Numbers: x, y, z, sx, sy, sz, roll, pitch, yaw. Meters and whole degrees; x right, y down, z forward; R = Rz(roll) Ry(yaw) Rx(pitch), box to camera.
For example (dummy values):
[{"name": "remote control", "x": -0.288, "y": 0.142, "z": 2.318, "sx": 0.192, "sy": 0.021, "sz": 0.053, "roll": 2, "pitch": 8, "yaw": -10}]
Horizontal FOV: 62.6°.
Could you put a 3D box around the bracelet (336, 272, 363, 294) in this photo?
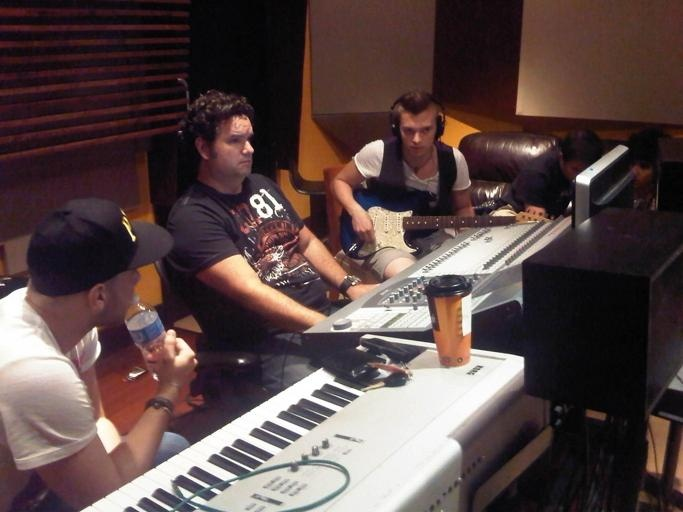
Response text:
[{"name": "bracelet", "x": 0.035, "y": 0.156, "z": 2.843, "sx": 0.081, "sy": 0.104, "sz": 0.107, "roll": 52, "pitch": 14, "yaw": 32}]

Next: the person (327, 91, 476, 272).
[{"name": "person", "x": 0.381, "y": -0.348, "z": 3.404, "sx": 0.840, "sy": 1.071, "sz": 0.302, "roll": 12, "pitch": 5, "yaw": 2}]

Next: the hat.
[{"name": "hat", "x": -0.676, "y": -0.023, "z": 1.611, "sx": 0.365, "sy": 0.182, "sz": 0.230, "roll": -22, "pitch": 40, "yaw": -30}]

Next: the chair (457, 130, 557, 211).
[{"name": "chair", "x": 1.146, "y": -0.565, "z": 3.876, "sx": 0.470, "sy": 0.545, "sz": 0.535, "roll": 4, "pitch": 5, "yaw": 17}]

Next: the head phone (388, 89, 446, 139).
[{"name": "head phone", "x": 0.444, "y": -0.796, "z": 3.255, "sx": 0.318, "sy": 0.297, "sz": 0.278, "roll": -2, "pitch": 19, "yaw": 7}]

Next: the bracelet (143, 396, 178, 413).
[{"name": "bracelet", "x": -0.551, "y": 0.443, "z": 1.684, "sx": 0.068, "sy": 0.047, "sz": 0.065, "roll": 7, "pitch": -15, "yaw": 15}]

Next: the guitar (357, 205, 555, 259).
[{"name": "guitar", "x": 0.625, "y": -0.067, "z": 3.170, "sx": 1.063, "sy": 0.120, "sz": 0.402, "roll": 1, "pitch": 32, "yaw": 11}]
